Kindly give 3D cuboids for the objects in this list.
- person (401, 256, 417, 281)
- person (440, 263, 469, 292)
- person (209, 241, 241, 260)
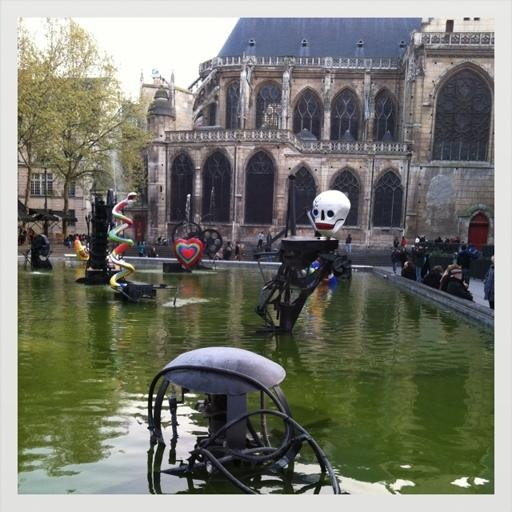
[{"bbox_3d":[4.490,0.361,24.546,0.527,0.542,1.554,-9,-1,12],"label":"person"},{"bbox_3d":[4.287,0.419,18.179,0.564,0.857,0.699,1,2,11],"label":"person"},{"bbox_3d":[-1.585,-0.309,41.222,1.146,0.482,0.868,-2,-1,40],"label":"person"}]
